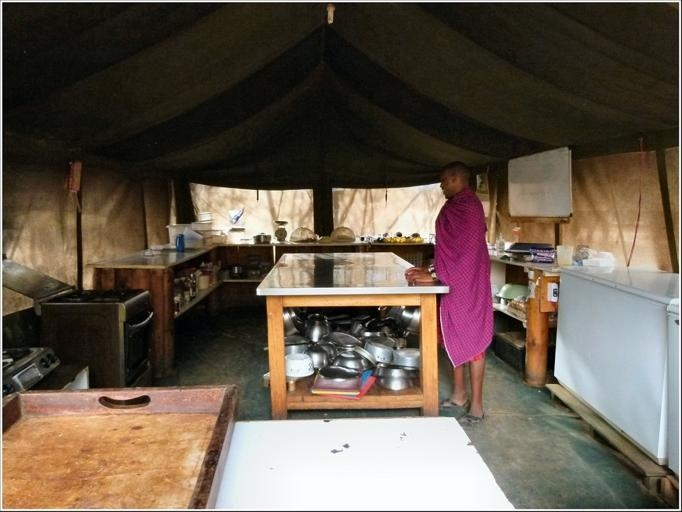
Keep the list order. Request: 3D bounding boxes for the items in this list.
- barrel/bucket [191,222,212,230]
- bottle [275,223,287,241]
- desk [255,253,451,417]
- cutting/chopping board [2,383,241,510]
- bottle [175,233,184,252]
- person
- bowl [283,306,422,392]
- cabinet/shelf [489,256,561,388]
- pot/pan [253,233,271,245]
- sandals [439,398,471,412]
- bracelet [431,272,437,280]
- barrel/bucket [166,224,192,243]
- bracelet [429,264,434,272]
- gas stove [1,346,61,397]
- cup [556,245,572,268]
[{"bbox_3d":[-1.797,-0.394,6.444,0.119,0.128,0.405,2,12,11],"label":"barrel/bucket"},{"bbox_3d":[-0.915,-0.399,7.596,0.194,0.302,0.335,-2,13,-8],"label":"bottle"},{"bbox_3d":[0.045,0.638,3.974,1.267,1.171,1.519,-1,12,-5],"label":"desk"},{"bbox_3d":[-0.788,0.635,1.648,0.797,0.218,0.459,0,12,-1],"label":"cutting/chopping board"},{"bbox_3d":[-1.873,-0.166,5.766,0.088,0.208,0.267,-3,13,-13],"label":"bottle"},{"bbox_3d":[0.884,0.294,3.915,0.744,1.906,0.646,2,10,16],"label":"person"},{"bbox_3d":[0.088,0.760,3.771,0.704,0.180,0.751,-1,9,0],"label":"bowl"},{"bbox_3d":[1.770,0.651,4.660,0.412,0.553,1.135,-2,11,0],"label":"cabinet/shelf"},{"bbox_3d":[-1.152,-0.256,7.316,0.190,0.111,0.184,0,-1,-2],"label":"pot/pan"},{"bbox_3d":[0.925,1.203,3.961,0.206,0.057,0.090,3,0,-3],"label":"sandals"},{"bbox_3d":[0.692,0.147,3.604,0.050,0.032,0.046,6,39,3],"label":"bracelet"},{"bbox_3d":[-1.959,-0.279,6.004,0.310,0.187,0.245,-2,3,-19],"label":"barrel/bucket"},{"bbox_3d":[0.740,0.093,3.955,0.064,0.057,0.064,1,2,20],"label":"bracelet"},{"bbox_3d":[-1.762,0.649,2.830,0.314,0.114,0.443,0,8,-18],"label":"gas stove"},{"bbox_3d":[1.945,-0.009,4.238,0.130,0.156,0.128,0,13,0],"label":"cup"}]
